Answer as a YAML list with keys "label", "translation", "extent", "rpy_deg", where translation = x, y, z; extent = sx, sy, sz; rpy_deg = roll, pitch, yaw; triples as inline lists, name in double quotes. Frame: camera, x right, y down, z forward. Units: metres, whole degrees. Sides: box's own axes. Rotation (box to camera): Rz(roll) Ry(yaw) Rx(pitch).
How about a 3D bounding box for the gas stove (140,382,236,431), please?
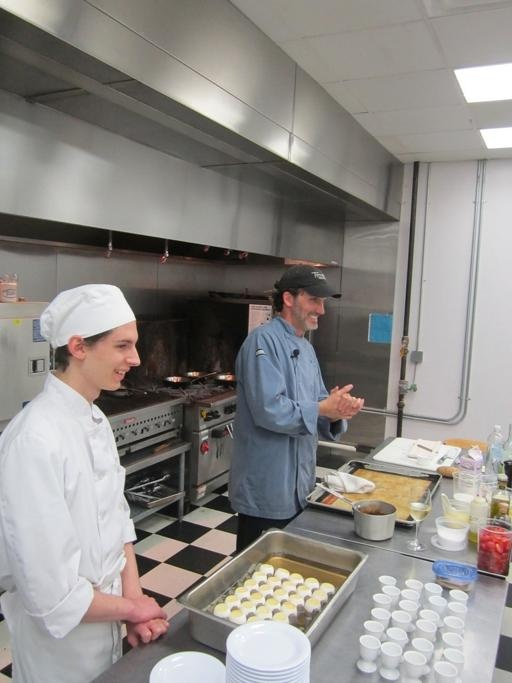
- label: "gas stove"
  translation: [-0.440, 0.481, 3.571]
  extent: [0.333, 0.152, 0.472]
  rpy_deg: [2, 5, 23]

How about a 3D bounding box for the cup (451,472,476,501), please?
- label: "cup"
  translation: [0.727, 0.506, 1.795]
  extent: [0.096, 0.076, 0.073]
  rpy_deg: [-1, 6, -1]

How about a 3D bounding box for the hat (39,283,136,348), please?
- label: "hat"
  translation: [-0.402, -0.053, 1.222]
  extent: [0.196, 0.119, 0.146]
  rpy_deg: [-18, 5, 5]

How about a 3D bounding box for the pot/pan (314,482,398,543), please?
- label: "pot/pan"
  translation: [0.352, 0.551, 1.722]
  extent: [0.137, 0.094, 0.346]
  rpy_deg: [-1, 5, -9]

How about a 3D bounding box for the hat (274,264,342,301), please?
- label: "hat"
  translation: [0.202, -0.240, 2.094]
  extent: [0.219, 0.114, 0.142]
  rpy_deg: [3, 2, 21]

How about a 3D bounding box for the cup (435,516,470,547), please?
- label: "cup"
  translation: [0.595, 0.564, 1.554]
  extent: [0.083, 0.056, 0.078]
  rpy_deg: [2, 4, 0]

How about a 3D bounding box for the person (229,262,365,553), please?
- label: "person"
  translation: [0.157, 0.293, 2.001]
  extent: [0.510, 1.184, 0.648]
  rpy_deg: [-1, 6, -11]
